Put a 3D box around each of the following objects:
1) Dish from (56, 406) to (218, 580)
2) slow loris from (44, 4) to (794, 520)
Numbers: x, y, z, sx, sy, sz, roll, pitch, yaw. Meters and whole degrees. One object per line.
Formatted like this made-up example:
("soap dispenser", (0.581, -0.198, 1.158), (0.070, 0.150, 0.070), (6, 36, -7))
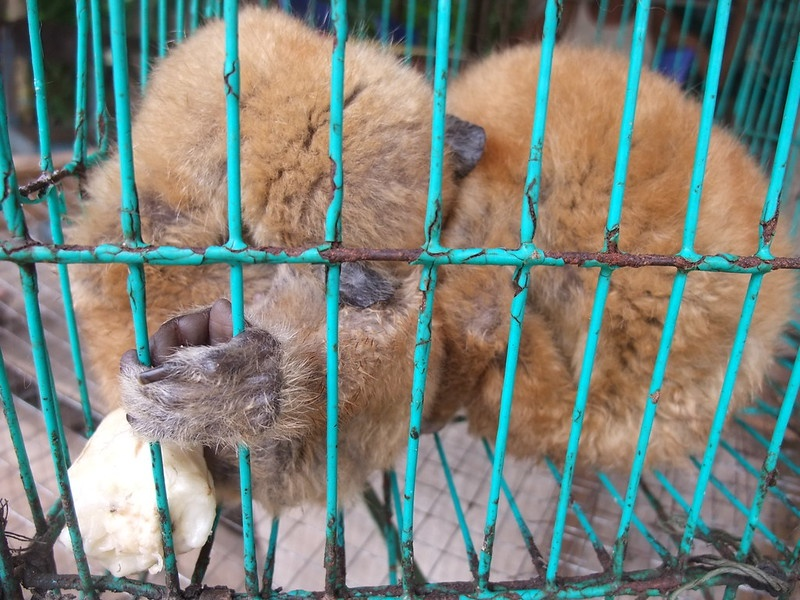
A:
("Dish", (-0.606, 0.431, 1.981), (0.347, 0.358, 0.240), (2, 14, -14))
("slow loris", (0.073, -0.201, 2.237), (1.398, 1.326, 0.685), (2, 21, 6))
